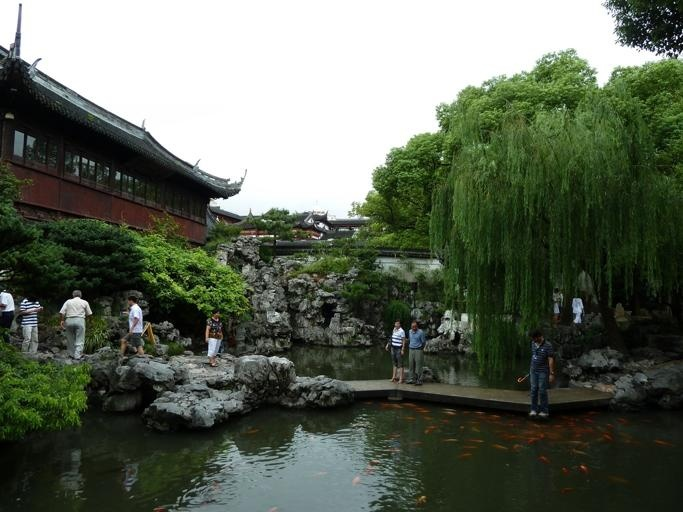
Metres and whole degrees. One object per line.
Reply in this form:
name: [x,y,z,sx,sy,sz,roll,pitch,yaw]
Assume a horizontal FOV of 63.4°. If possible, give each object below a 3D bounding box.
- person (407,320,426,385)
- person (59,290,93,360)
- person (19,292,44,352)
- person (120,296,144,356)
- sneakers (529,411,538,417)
person: [2.079,2.741,15.413,0.396,1.906,0.668,2,11,10]
person: [-7.079,1.859,14.741,0.698,1.984,1.149,-6,12,-27]
person: [-8.578,1.933,15.257,0.553,1.513,1.505,-7,13,-31]
person: [-5.693,1.914,14.937,0.574,1.840,1.019,-5,12,-22]
sneakers: [4.618,3.820,13.327,0.092,0.099,0.225,-4,-24,13]
